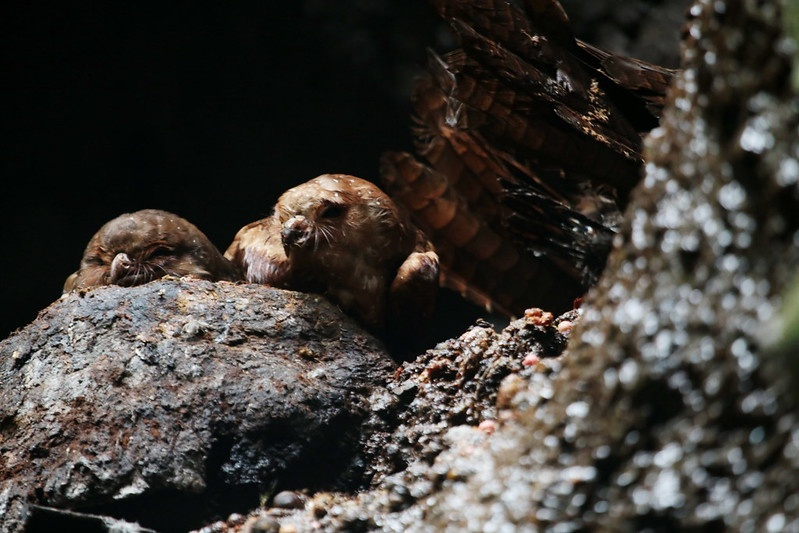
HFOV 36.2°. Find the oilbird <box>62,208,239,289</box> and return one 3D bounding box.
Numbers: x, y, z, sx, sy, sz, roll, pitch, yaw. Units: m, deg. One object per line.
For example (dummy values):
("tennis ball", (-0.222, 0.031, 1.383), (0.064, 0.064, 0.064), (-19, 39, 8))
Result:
("oilbird", (-0.879, -0.053, 4.362), (0.416, 0.257, 0.328), (-1, -14, -38))
